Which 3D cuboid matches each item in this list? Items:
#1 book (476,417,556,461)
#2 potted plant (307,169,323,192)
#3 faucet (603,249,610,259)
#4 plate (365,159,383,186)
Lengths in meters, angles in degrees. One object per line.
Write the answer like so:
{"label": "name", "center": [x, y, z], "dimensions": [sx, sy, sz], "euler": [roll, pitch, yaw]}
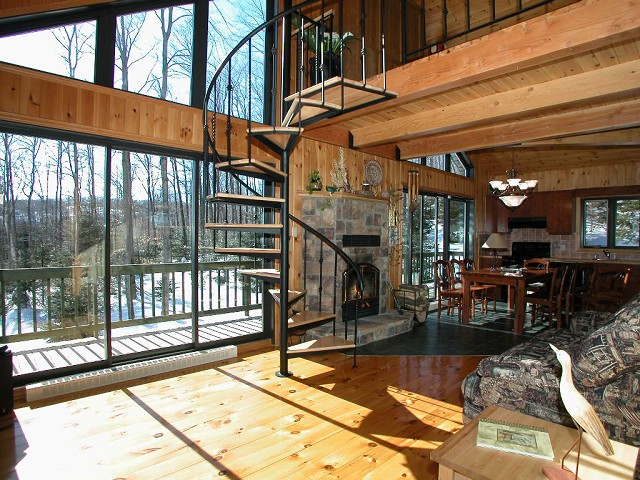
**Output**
{"label": "book", "center": [1.290, 1.327, 2.981], "dimensions": [0.320, 0.054, 0.215], "euler": [4, 11, 20]}
{"label": "potted plant", "center": [-0.081, -0.830, 6.355], "dimensions": [0.209, 0.288, 0.179], "euler": [0, 12, -7]}
{"label": "faucet", "center": [5.538, 0.266, 8.669], "dimensions": [0.143, 0.163, 0.200], "euler": [8, 13, 28]}
{"label": "plate", "center": [0.910, -1.153, 7.603], "dimensions": [0.089, 0.382, 0.453], "euler": [-1, -3, 44]}
